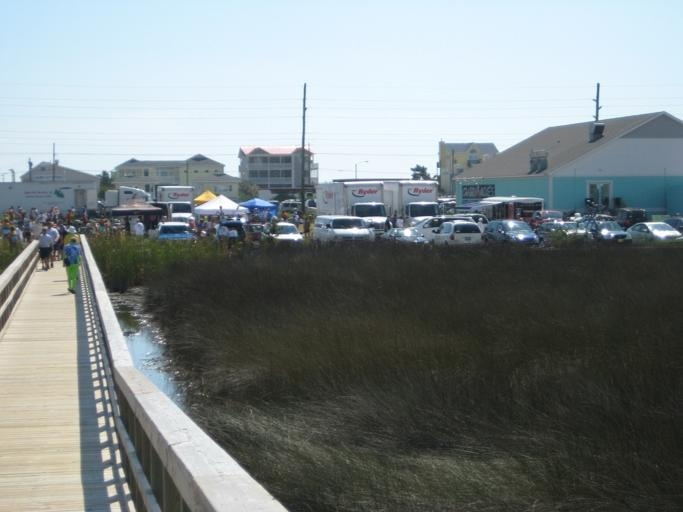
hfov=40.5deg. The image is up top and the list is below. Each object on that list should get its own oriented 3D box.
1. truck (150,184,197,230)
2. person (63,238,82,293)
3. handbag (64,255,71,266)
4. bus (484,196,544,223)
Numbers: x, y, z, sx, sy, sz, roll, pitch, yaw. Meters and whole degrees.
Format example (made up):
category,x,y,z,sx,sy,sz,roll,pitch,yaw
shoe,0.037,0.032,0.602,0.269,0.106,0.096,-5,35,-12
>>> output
category,x,y,z,sx,sy,sz,roll,pitch,yaw
truck,-8.592,-2.811,48.985,1.574,2.721,4.851,-1,1,-17
person,-6.373,0.221,22.111,0.340,1.256,1.113,-4,11,-16
handbag,-6.409,0.100,21.746,0.158,0.319,0.298,-2,7,-22
bus,8.686,-2.360,46.067,1.604,1.582,2.311,-3,7,-40
